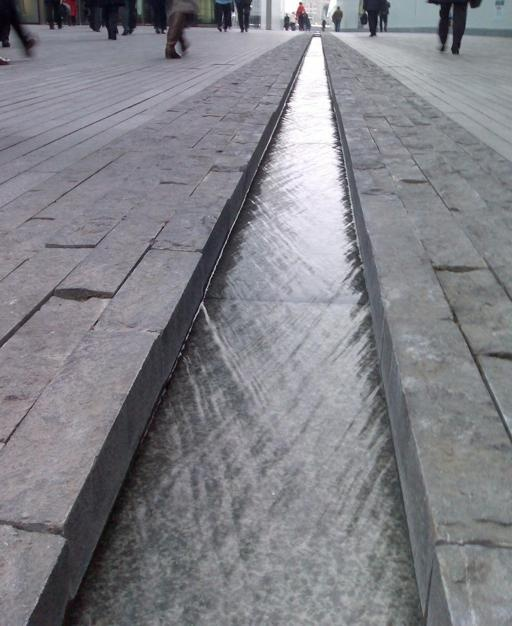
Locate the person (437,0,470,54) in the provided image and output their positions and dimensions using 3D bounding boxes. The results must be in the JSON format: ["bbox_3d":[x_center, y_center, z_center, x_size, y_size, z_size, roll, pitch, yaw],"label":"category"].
[{"bbox_3d":[4.942,-7.211,11.756,0.667,1.099,2.239,12,32,17],"label":"person"}]
